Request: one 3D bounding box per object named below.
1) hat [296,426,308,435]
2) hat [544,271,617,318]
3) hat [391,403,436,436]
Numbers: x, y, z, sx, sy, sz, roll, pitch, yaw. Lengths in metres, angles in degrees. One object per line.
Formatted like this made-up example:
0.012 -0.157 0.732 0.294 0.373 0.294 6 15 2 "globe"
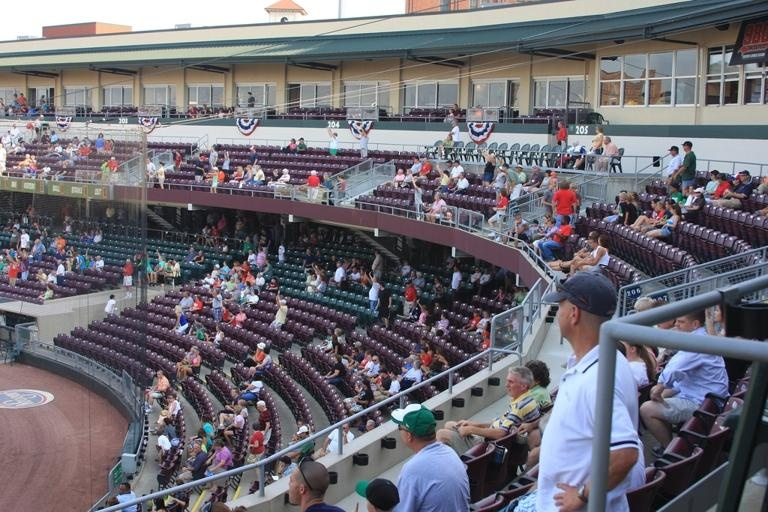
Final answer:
-1.588 3.376 18.089 0.138 0.083 0.198 -2 -9 -44 "hat"
2.290 0.448 10.703 0.637 0.378 0.463 20 13 21 "hat"
0.370 2.048 11.946 0.626 0.264 0.404 17 17 42 "hat"
